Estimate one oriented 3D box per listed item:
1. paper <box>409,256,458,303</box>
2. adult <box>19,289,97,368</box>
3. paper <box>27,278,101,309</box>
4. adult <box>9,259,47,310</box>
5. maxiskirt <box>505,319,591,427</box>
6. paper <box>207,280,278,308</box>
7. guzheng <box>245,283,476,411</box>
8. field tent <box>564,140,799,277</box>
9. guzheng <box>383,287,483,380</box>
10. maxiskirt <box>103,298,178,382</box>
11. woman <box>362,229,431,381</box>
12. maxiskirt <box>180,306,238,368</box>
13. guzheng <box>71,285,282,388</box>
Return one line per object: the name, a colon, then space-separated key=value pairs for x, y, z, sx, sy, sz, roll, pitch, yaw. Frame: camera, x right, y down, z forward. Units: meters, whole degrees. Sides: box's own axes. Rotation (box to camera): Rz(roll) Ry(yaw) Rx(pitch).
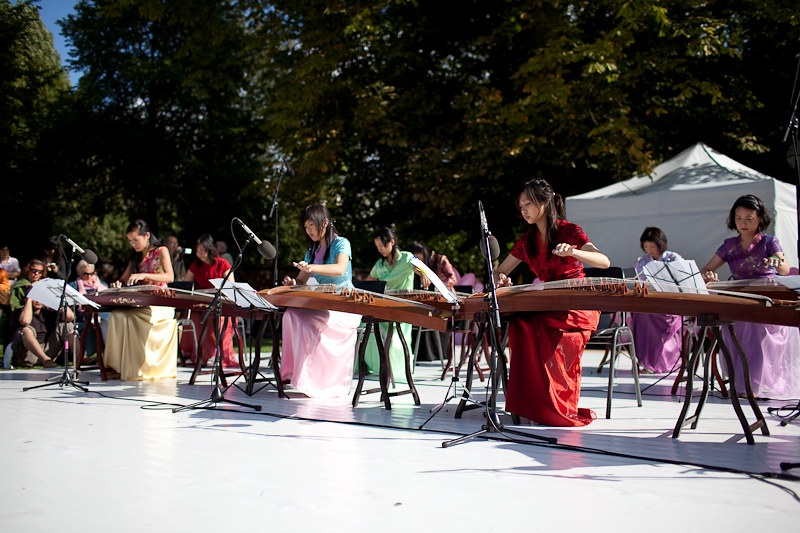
paper: x=0.341 y=0.140 z=8.873 sx=0.280 sy=0.415 sz=0.634 roll=-4 pitch=-8 yaw=24
adult: x=-4.522 y=0.810 z=11.644 sx=0.818 sy=1.106 sz=0.702 roll=-13 pitch=17 yaw=-29
paper: x=-4.055 y=0.389 z=10.607 sx=0.447 sy=0.212 sz=0.602 roll=-17 pitch=-29 yaw=17
adult: x=-5.272 y=0.312 z=12.345 sx=0.332 sy=0.741 sz=0.284 roll=3 pitch=-7 yaw=18
maxiskirt: x=1.607 y=1.113 z=9.668 sx=0.991 sy=1.292 sz=0.973 roll=1 pitch=-2 yaw=-2
paper: x=-1.737 y=0.303 z=9.666 sx=0.360 sy=0.139 sz=0.471 roll=5 pitch=-17 yaw=14
guzheng: x=-0.523 y=0.766 z=9.750 sx=2.214 sy=0.954 sz=0.760 roll=9 pitch=3 yaw=11
field tent: x=4.503 y=-0.916 z=14.279 sx=2.320 sy=1.444 sz=2.414 roll=0 pitch=3 yaw=32
guzheng: x=0.311 y=0.725 z=9.938 sx=0.700 sy=0.959 sz=0.742 roll=-8 pitch=-13 yaw=35
maxiskirt: x=-3.356 y=1.006 z=11.501 sx=0.698 sy=0.885 sz=0.925 roll=3 pitch=-7 yaw=40
woman: x=-0.139 y=0.466 z=11.401 sx=1.252 sy=1.883 sz=0.735 roll=-8 pitch=-17 yaw=-3
maxiskirt: x=-2.750 y=0.989 z=12.492 sx=0.962 sy=0.877 sz=0.873 roll=-2 pitch=-3 yaw=-23
guzheng: x=-2.453 y=0.792 z=11.052 sx=3.045 sy=1.173 sz=0.924 roll=2 pitch=-4 yaw=8
